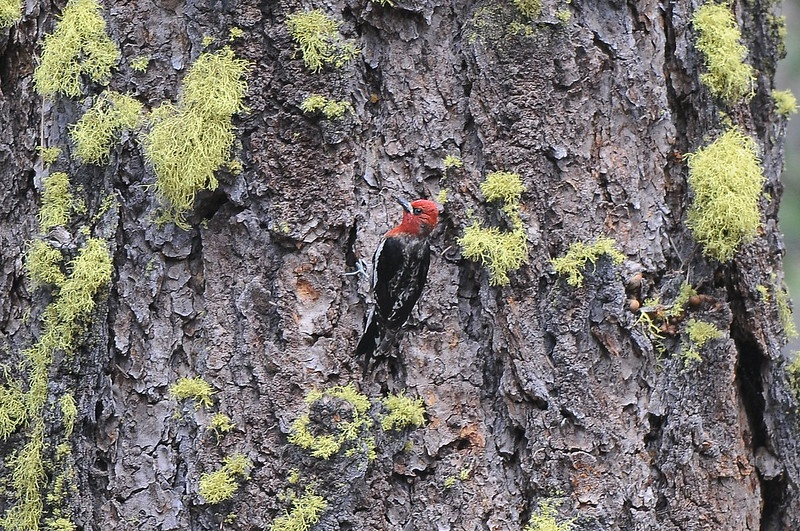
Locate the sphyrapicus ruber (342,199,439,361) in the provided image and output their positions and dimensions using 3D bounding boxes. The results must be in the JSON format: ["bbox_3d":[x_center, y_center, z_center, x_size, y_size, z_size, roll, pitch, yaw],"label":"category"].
[{"bbox_3d":[0.080,0.112,11.258,0.710,0.524,1.283,-7,65,36],"label":"sphyrapicus ruber"}]
